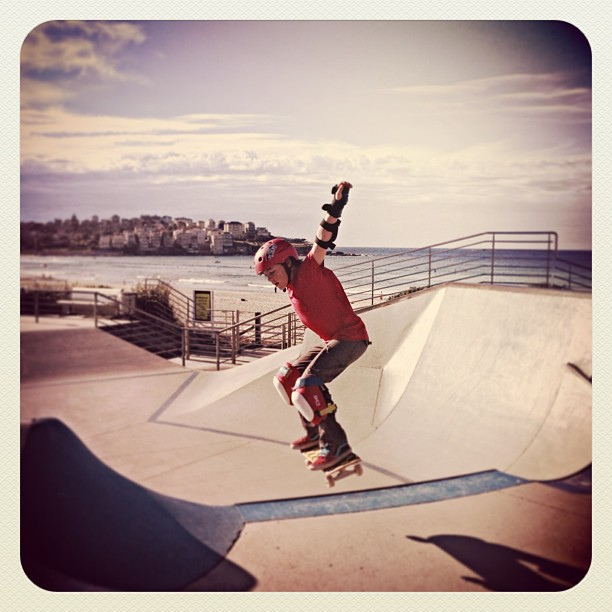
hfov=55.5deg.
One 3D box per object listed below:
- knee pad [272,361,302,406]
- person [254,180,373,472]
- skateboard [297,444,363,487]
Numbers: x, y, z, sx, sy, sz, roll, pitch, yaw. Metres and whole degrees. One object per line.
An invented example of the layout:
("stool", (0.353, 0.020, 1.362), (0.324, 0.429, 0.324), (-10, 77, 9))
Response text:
("knee pad", (-0.155, 0.623, 5.082), (0.302, 0.271, 0.203), (-28, 47, -36))
("person", (0.081, 0.375, 4.945), (0.889, 2.746, 0.772), (0, 15, 12))
("skateboard", (0.220, 1.358, 4.955), (0.533, 0.371, 0.318), (0, 14, 9))
